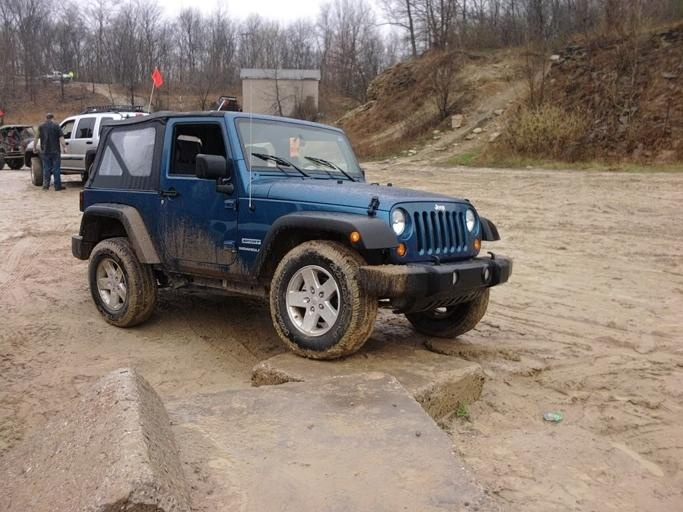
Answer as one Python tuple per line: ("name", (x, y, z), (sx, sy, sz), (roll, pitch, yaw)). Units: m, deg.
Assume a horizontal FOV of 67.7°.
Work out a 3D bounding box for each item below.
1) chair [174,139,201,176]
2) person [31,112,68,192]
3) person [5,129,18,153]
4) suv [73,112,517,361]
("chair", (-1.754, -1.155, 5.776), (0.252, 0.427, 0.447), (-1, -26, -7))
("person", (-8.828, -3.115, 15.456), (0.692, 2.252, 1.099), (-3, 14, -29))
("person", (-14.965, -5.266, 23.031), (0.470, 0.934, 0.164), (4, 12, 0))
("suv", (-0.762, -0.298, 5.967), (4.550, 2.342, 2.442), (5, 8, 36))
